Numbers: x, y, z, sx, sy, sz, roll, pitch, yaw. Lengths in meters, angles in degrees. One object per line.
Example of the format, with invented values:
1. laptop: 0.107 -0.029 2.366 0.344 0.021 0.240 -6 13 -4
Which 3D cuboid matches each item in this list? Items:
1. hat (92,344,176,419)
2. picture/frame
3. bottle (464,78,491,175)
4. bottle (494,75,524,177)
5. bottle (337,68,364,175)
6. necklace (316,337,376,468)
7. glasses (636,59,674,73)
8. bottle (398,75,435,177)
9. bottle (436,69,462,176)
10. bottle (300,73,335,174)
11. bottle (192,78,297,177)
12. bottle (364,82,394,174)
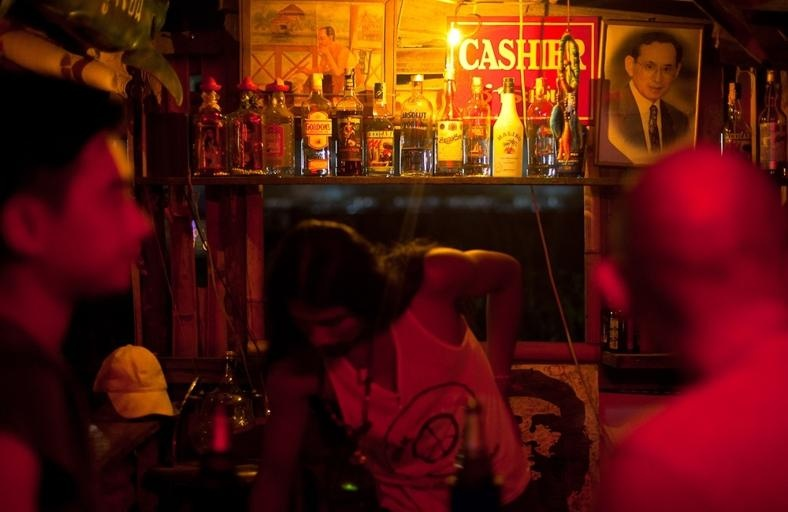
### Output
1. hat: -1.053 0.488 3.039 0.299 0.229 0.423 6 6 -38
2. picture/frame: 1.043 -0.682 3.057 0.555 0.802 0.032 2 1 -7
3. bottle: 0.333 -0.508 2.972 0.113 0.248 0.161 2 2 5
4. bottle: 0.454 -0.506 2.958 0.126 0.261 0.179 2 2 9
5. bottle: -0.171 -0.513 2.929 0.116 0.400 0.183 1 2 -6
6. necklace: -0.201 0.613 3.096 0.246 0.450 0.090 -3 -4 -1
7. glasses: 1.079 -0.772 3.057 0.062 0.031 0.083 3 0 -4
8. bottle: 0.091 -0.517 2.955 0.141 0.407 0.189 2 2 1
9. bottle: 0.223 -0.533 2.936 0.113 0.439 0.203 2 2 4
10. bottle: -0.299 -0.505 2.888 0.125 0.396 0.115 2 1 0
11. bottle: -0.582 -0.487 2.911 0.377 0.385 0.128 0 -1 -6
12. bottle: -0.053 -0.494 2.939 0.120 0.361 0.202 2 2 -1
